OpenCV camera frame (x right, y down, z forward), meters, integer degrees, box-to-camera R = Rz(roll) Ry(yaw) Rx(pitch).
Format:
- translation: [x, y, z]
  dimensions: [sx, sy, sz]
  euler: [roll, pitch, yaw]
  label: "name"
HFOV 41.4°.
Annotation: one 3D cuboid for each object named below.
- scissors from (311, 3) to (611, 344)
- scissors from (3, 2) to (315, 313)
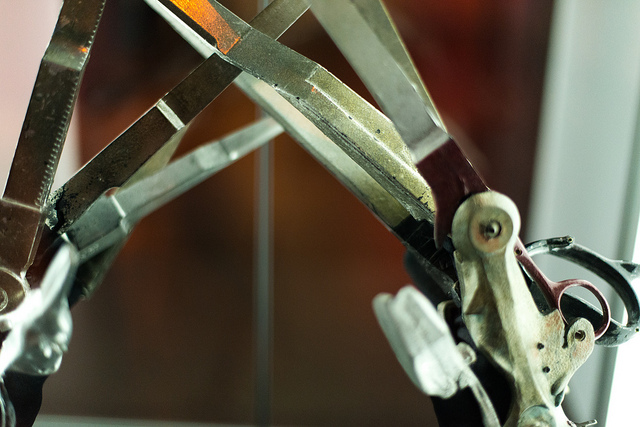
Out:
- translation: [0.146, 0.001, 1.092]
  dimensions: [0.034, 0.244, 0.550]
  euler: [-23, -78, 44]
  label: "scissors"
- translation: [-0.240, -0.098, 1.209]
  dimensions: [0.065, 0.406, 0.217]
  euler: [34, -16, -4]
  label: "scissors"
